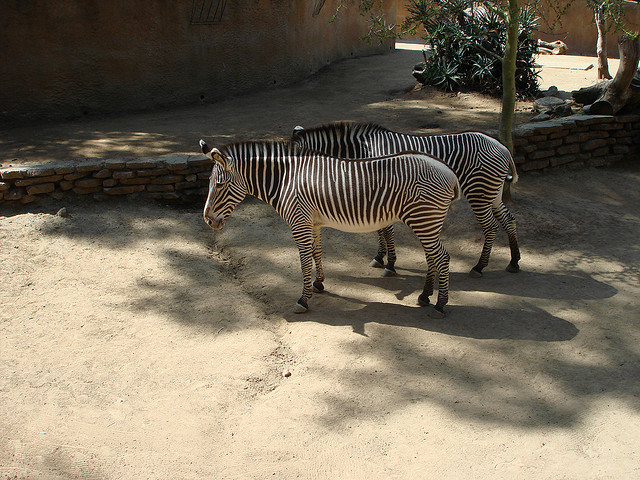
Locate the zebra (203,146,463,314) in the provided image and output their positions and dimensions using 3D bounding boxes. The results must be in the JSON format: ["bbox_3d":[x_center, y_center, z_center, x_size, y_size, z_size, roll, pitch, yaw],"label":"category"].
[{"bbox_3d":[0.422,-0.251,7.247,4.106,1.895,1.099,4,23,38],"label":"zebra"}]

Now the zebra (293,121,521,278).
[{"bbox_3d":[1.226,-0.665,8.686,4.505,1.958,1.249,8,17,43],"label":"zebra"}]
